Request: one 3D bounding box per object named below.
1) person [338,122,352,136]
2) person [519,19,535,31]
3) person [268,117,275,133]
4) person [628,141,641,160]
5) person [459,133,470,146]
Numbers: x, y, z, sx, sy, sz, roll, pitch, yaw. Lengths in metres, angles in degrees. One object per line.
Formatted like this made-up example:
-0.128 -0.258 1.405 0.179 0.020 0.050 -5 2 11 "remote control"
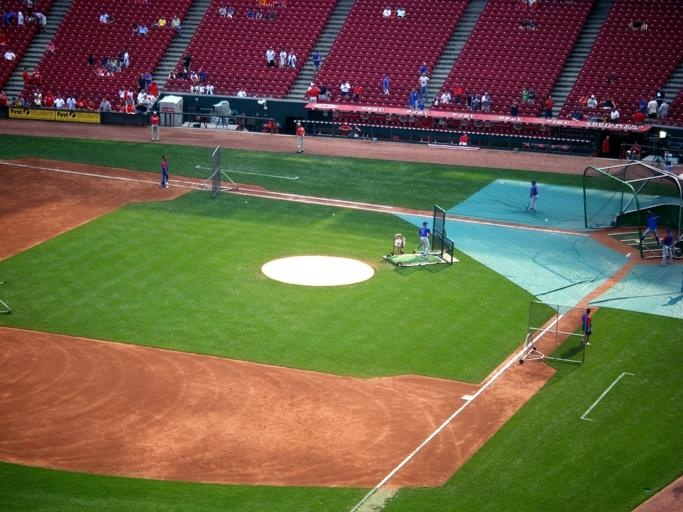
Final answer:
0.516 -10.849 81.642 1.489 0.984 1.064 2 -14 3 "person"
16.148 -20.029 83.094 1.208 0.456 1.261 -1 31 2 "person"
-5.697 -11.206 82.501 0.787 1.133 0.585 8 16 -10 "person"
21.921 -7.850 72.010 0.877 1.211 0.900 14 15 15 "person"
10.244 -9.655 79.103 1.127 1.088 0.995 5 19 17 "person"
